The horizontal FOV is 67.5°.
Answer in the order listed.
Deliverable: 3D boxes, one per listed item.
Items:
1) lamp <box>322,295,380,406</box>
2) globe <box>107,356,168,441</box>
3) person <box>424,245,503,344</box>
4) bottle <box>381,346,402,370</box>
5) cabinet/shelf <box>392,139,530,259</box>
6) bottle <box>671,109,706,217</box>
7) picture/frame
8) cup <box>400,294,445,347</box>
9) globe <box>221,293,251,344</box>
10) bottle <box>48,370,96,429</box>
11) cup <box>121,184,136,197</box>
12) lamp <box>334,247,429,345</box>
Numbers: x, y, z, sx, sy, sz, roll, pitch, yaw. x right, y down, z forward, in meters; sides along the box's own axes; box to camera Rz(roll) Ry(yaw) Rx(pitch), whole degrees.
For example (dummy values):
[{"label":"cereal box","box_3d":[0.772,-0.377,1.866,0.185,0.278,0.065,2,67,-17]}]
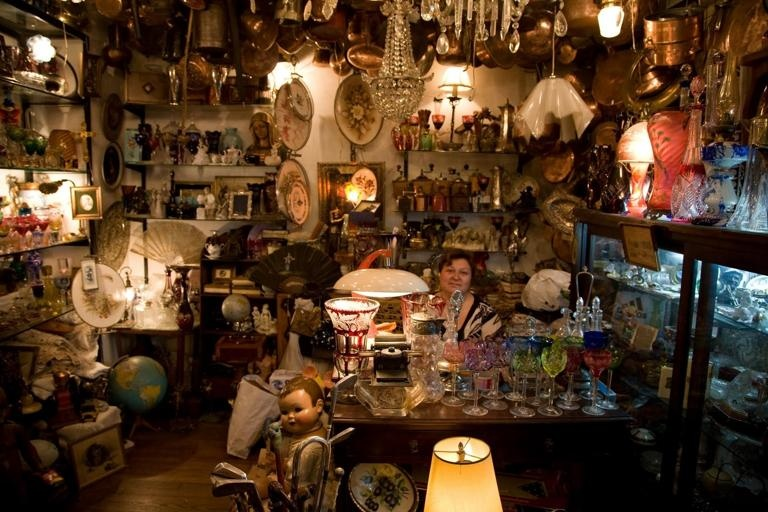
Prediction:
[{"label":"lamp","box_3d":[-0.193,0.499,3.470,0.442,0.629,0.408,4,2,-17]},{"label":"globe","box_3d":[-2.290,1.281,5.408,0.512,0.756,0.515,-10,22,-44]},{"label":"person","box_3d":[0.617,0.302,4.490,0.683,0.772,0.320,-4,4,-1]},{"label":"bottle","box_3d":[0.049,0.595,3.385,0.110,0.107,0.111,0,10,4]},{"label":"cabinet/shelf","box_3d":[0.739,-0.588,5.658,1.170,1.118,0.382,0,9,-1]},{"label":"bottle","box_3d":[1.683,-0.496,3.111,0.159,0.614,0.158,0,7,0]},{"label":"picture/frame","box_3d":[-0.312,-0.623,5.739,0.683,0.691,0.078,1,-1,4]},{"label":"cup","box_3d":[0.245,0.422,3.803,0.301,0.327,0.325,10,3,-1]},{"label":"globe","box_3d":[-1.391,0.529,5.524,0.277,0.402,0.268,0,27,5]},{"label":"bottle","box_3d":[-2.532,1.145,4.631,0.321,0.450,0.398,0,1,-22]},{"label":"cup","box_3d":[-2.519,-0.638,5.674,0.117,0.122,0.122,-5,-22,-2]},{"label":"lamp","box_3d":[-0.047,0.178,3.649,0.582,0.552,0.585,-3,9,-8]}]
